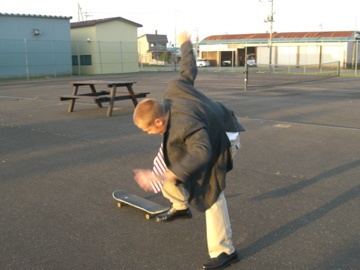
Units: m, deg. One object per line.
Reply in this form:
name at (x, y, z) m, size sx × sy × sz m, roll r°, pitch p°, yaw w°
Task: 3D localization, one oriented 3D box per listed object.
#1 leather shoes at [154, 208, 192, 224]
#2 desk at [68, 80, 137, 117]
leather shoes at (-0.094, 1.020, 4.137) m, size 0.462 × 0.210 × 0.165 m, roll 1°, pitch 7°, yaw -16°
desk at (-3.490, -1.912, 13.685) m, size 2.387 × 1.238 × 6.882 m, roll -5°, pitch 15°, yaw -17°
